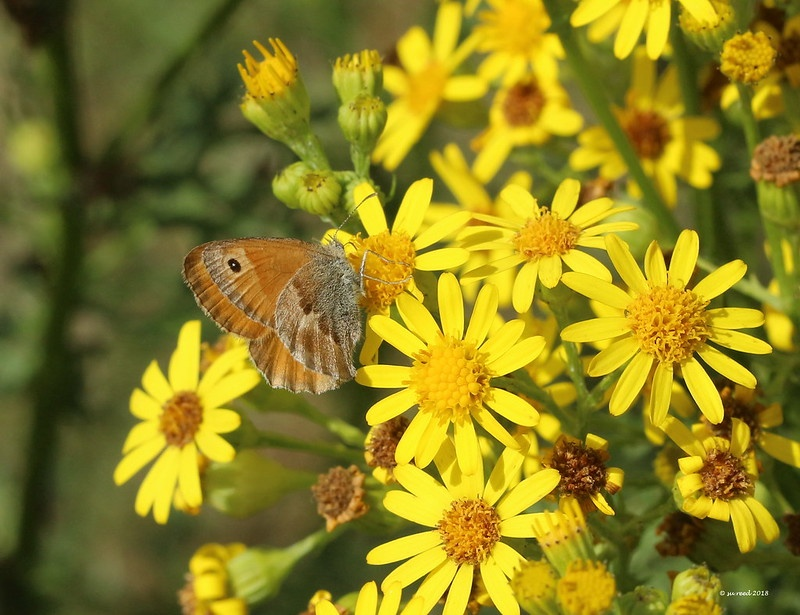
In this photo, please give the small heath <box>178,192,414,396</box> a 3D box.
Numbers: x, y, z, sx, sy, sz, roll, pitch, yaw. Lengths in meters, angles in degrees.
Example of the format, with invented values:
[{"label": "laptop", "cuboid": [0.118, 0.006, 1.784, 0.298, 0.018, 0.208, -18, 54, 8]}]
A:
[{"label": "small heath", "cuboid": [-0.258, -0.001, 2.087, 0.474, 0.250, 0.497, 7, 95, 29]}]
